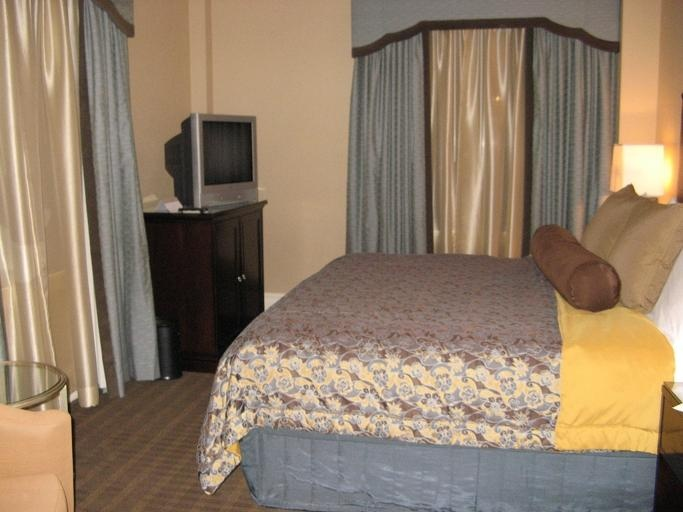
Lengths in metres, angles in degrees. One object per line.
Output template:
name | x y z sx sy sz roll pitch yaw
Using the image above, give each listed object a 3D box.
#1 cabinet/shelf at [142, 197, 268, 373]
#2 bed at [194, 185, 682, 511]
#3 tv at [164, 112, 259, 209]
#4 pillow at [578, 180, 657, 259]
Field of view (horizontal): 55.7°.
cabinet/shelf | -1.025 0.207 4.621 0.538 1.095 1.185 0 10 7
bed | 0.547 0.442 3.371 1.844 0.989 1.883 3 11 12
tv | -1.035 -0.744 5.091 0.415 0.689 0.743 5 13 21
pillow | 1.573 -0.196 3.761 0.136 0.445 0.467 25 14 1
